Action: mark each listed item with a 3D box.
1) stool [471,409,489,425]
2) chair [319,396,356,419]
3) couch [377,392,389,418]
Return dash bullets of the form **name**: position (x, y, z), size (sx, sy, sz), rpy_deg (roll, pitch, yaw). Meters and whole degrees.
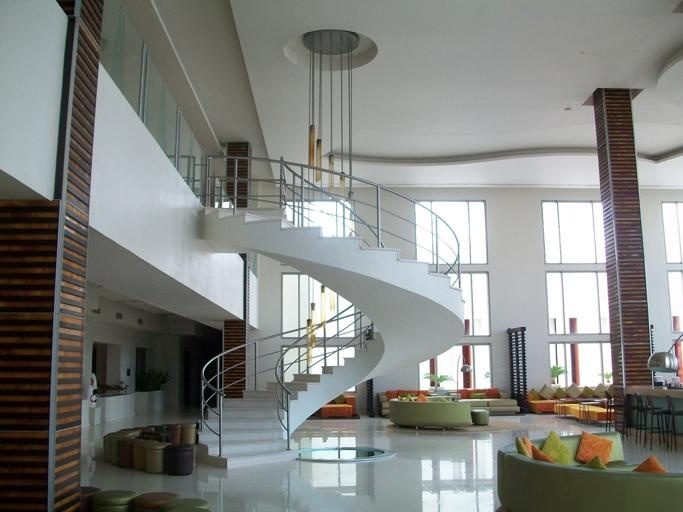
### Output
- **stool**: position (3.688, 4.325, 14.170), size (0.400, 0.385, 0.420), rpy_deg (1, -9, -1)
- **chair**: position (-0.121, 4.810, 16.785), size (1.135, 0.630, 1.326), rpy_deg (0, -10, 0)
- **couch**: position (1.360, 4.918, 17.372), size (0.403, 0.596, 0.533), rpy_deg (1, -14, 0)
